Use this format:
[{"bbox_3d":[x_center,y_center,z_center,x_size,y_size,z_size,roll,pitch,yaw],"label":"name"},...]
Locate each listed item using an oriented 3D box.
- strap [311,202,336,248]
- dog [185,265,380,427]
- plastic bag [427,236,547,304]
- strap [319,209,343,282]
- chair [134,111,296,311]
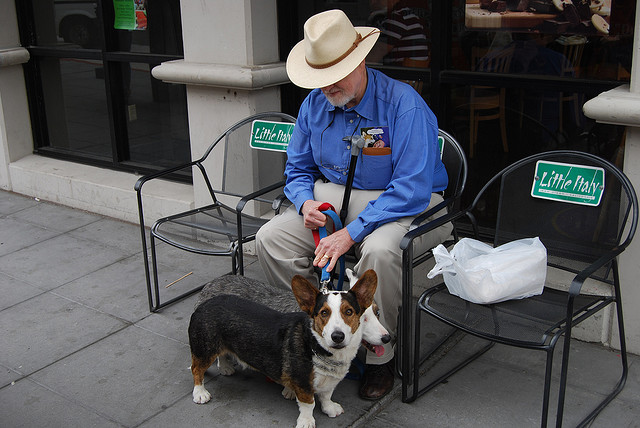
[{"bbox_3d":[0.010,0.072,3.458,0.151,0.281,0.066,3,7,7],"label":"strap"},{"bbox_3d":[-0.136,0.655,3.570,1.371,1.178,0.714,8,17,24],"label":"dog"},{"bbox_3d":[1.029,0.311,3.089,0.575,0.286,0.426,-8,13,-16],"label":"plastic bag"},{"bbox_3d":[0.058,0.200,3.349,0.156,0.353,0.429,3,24,6],"label":"strap"},{"bbox_3d":[-0.770,0.035,4.425,1.234,1.652,1.314,4,18,9],"label":"chair"}]
